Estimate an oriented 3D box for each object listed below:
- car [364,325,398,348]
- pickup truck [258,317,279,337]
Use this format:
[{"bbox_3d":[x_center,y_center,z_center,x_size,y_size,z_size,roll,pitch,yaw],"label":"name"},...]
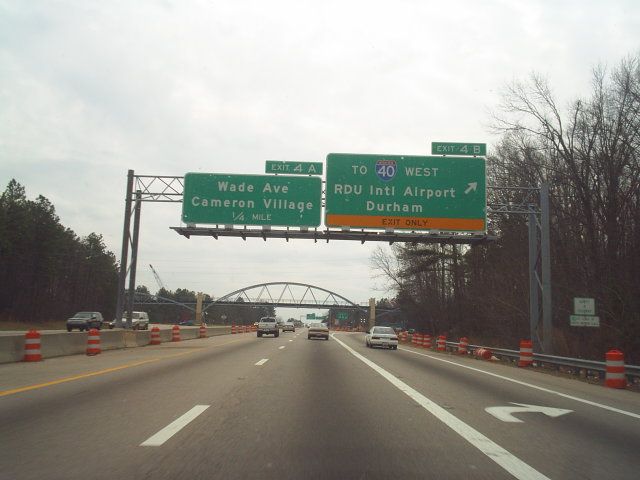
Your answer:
[{"bbox_3d":[3.890,6.079,35.739,1.530,1.418,2.436,5,-11,-25],"label":"car"},{"bbox_3d":[-4.729,8.039,53.538,1.155,1.251,2.761,0,-13,1],"label":"pickup truck"}]
